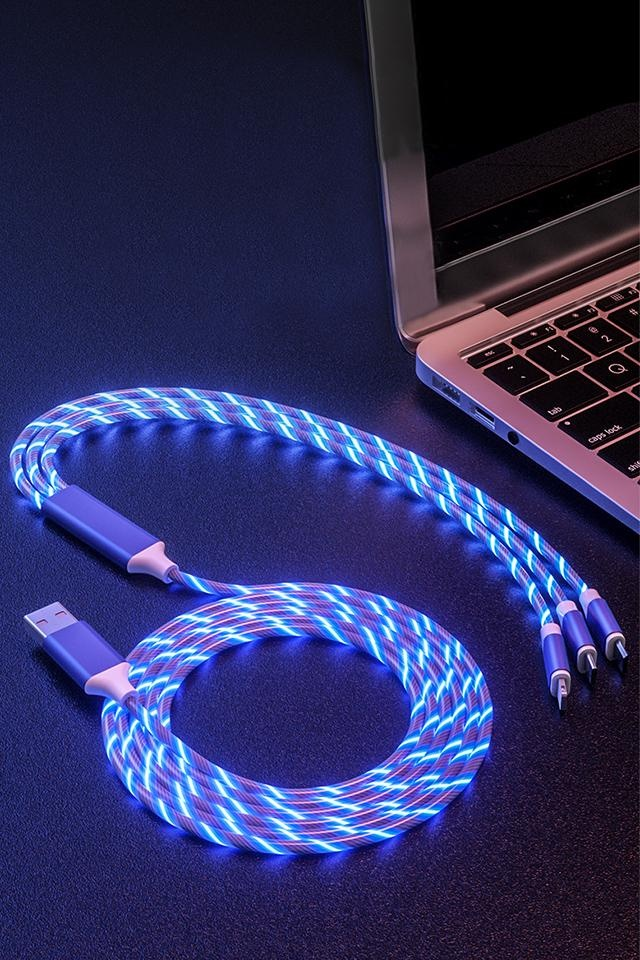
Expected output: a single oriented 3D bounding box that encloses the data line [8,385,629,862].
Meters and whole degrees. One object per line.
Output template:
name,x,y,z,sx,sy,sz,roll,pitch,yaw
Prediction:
data line,-0.046,0.049,0.542,0.274,0.025,0.381,-28,48,-34
